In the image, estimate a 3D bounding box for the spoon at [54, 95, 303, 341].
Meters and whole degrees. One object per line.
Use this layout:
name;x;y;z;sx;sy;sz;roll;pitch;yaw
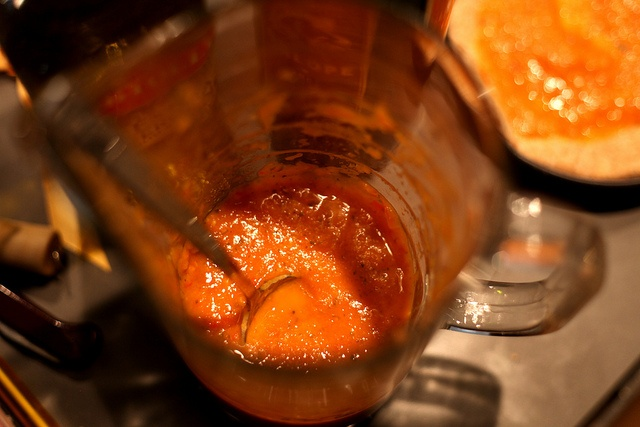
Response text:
spoon;-0.143;0.062;0.650;0.042;0.402;0.130;-20;26;40
